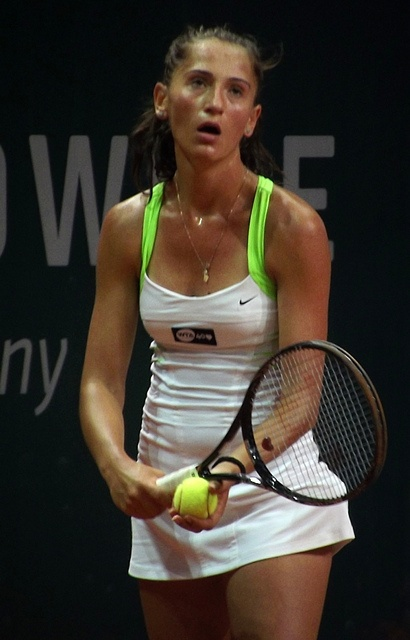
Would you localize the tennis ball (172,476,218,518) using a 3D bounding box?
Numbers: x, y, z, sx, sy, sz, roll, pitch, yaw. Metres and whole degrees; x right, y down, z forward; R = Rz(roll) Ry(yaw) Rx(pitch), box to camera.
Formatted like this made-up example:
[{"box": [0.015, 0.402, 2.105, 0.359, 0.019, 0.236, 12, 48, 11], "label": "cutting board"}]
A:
[{"box": [-0.016, 0.290, 1.014, 0.070, 0.069, 0.068, 2, -4, 0], "label": "tennis ball"}]
